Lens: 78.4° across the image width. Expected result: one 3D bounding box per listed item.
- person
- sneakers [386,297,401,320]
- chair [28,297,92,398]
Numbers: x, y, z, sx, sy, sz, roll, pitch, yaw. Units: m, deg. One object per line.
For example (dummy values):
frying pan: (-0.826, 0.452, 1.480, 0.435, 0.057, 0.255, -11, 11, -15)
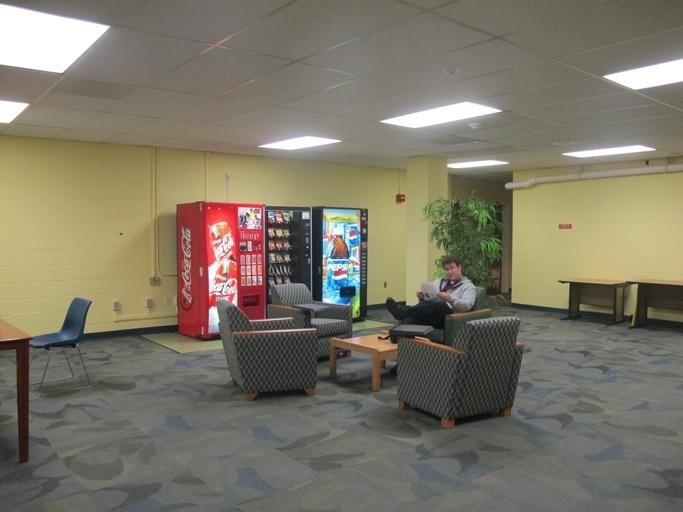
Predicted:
person: (1.294, 0.708, 5.857, 1.240, 1.423, 0.823, 10, -12, -22)
sneakers: (0.722, 0.733, 5.839, 0.181, 0.407, 0.153, -16, 24, 9)
chair: (-3.464, 1.036, 5.065, 0.834, 0.934, 0.754, -1, 1, 1)
